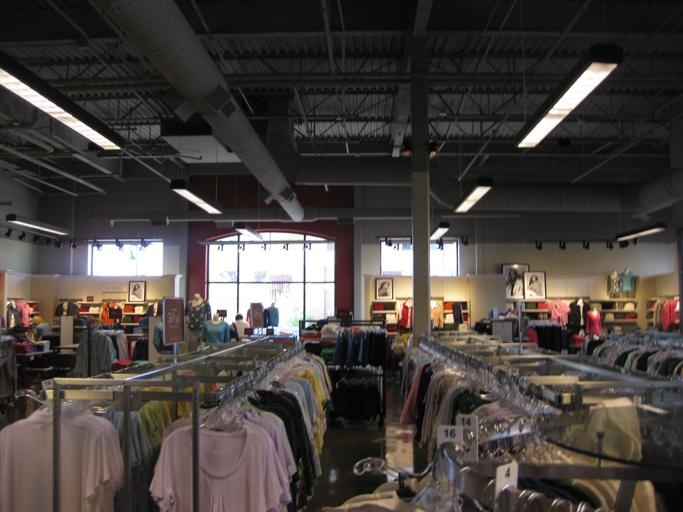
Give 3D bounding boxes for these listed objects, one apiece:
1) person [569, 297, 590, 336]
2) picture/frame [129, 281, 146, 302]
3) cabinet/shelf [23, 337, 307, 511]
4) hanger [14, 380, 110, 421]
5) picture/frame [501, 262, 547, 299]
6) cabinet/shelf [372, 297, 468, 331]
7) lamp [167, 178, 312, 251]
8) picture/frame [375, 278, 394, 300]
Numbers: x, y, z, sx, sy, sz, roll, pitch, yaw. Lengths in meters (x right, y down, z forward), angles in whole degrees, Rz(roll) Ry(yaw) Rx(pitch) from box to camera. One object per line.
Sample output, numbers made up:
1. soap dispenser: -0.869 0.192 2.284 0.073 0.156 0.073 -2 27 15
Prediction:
1. person: 6.627 1.563 16.147 0.512 1.005 0.225 -5 34 18
2. picture/frame: -5.884 1.056 16.907 0.516 0.743 0.051 0 -5 -3
3. cabinet/shelf: -1.541 1.669 6.618 1.993 1.315 4.386 -1 -6 9
4. hanger: -2.371 1.169 5.013 0.630 0.312 0.840 4 -9 -39
5. picture/frame: 5.284 0.762 16.839 0.830 0.851 0.087 2 -9 -8
6. cabinet/shelf: 2.156 1.584 16.073 2.732 0.915 1.066 -1 -6 8
7. lamp: -2.108 -1.104 11.858 1.383 0.414 2.612 -5 -14 17
8. picture/frame: 1.251 0.942 16.511 0.512 0.687 0.084 0 -7 -1
